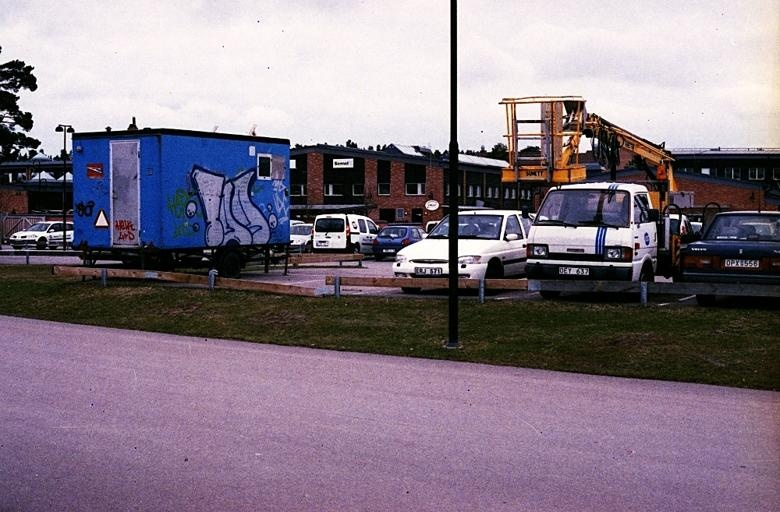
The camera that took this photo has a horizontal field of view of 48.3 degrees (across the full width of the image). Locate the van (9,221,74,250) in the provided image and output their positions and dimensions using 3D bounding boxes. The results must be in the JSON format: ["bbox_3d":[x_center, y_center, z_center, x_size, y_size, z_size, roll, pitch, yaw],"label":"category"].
[{"bbox_3d":[-19.908,-1.166,49.953,1.795,1.269,3.473,-1,-2,32],"label":"van"}]

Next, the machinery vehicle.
[{"bbox_3d":[5.200,-1.483,22.803,3.216,5.170,9.298,0,0,26],"label":"machinery vehicle"}]

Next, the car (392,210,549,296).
[{"bbox_3d":[2.083,-0.102,21.068,1.765,1.511,3.093,-1,-1,32],"label":"car"}]
